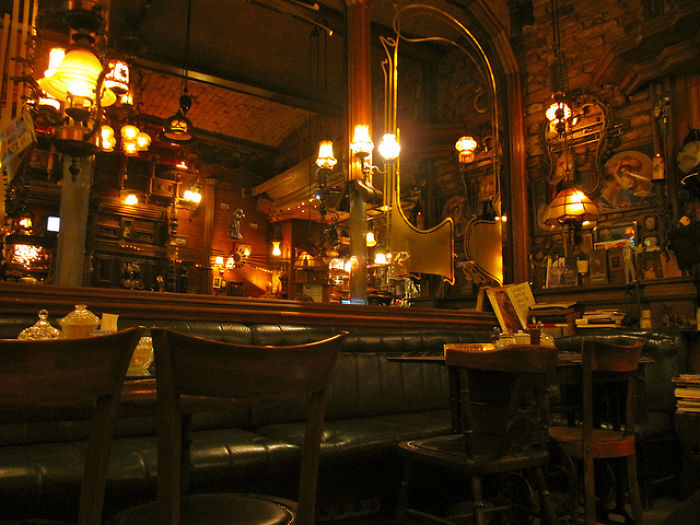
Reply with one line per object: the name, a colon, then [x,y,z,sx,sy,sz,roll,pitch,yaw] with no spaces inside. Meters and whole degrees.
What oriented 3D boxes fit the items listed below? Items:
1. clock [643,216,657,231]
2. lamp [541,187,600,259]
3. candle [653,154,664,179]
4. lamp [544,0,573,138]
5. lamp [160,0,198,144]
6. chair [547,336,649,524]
clock: [3.373,-0.442,7.333,0.036,0.124,0.141,5,1,-30]
lamp: [2.583,-0.547,7.643,0.564,0.855,1.179,-1,-9,18]
candle: [3.391,-1.062,7.166,0.134,0.335,0.185,-2,-9,25]
lamp: [2.619,-2.535,8.185,0.327,2.035,1.020,-1,-9,16]
lamp: [-2.483,-2.828,9.423,0.559,2.568,0.523,2,-44,-10]
chair: [1.485,1.027,3.922,0.510,1.110,0.755,-2,-9,25]
